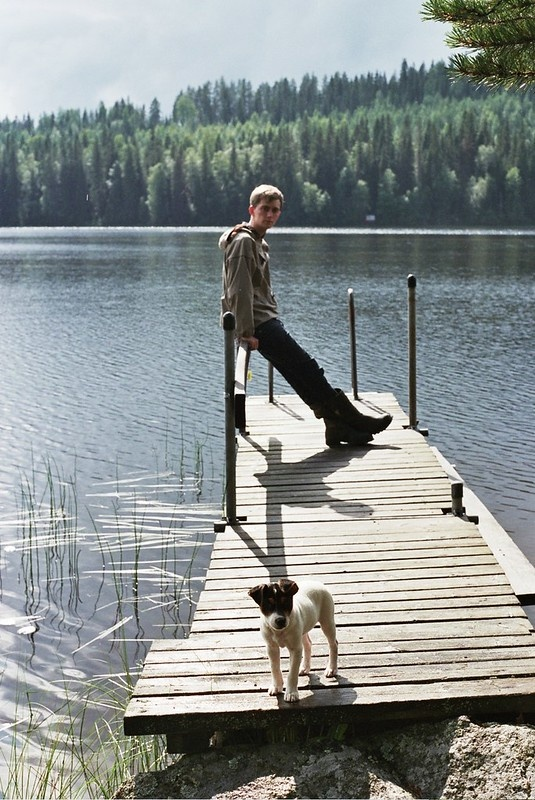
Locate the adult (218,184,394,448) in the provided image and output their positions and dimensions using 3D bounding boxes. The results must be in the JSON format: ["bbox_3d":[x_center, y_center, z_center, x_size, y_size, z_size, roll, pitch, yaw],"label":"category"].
[{"bbox_3d":[0.201,-0.508,7.808,0.988,1.756,1.368,-1,9,-2],"label":"adult"}]

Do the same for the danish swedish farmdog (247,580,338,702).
[{"bbox_3d":[0.119,0.858,4.495,0.190,0.472,0.615,2,5,26],"label":"danish swedish farmdog"}]

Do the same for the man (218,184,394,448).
[{"bbox_3d":[0.203,-0.509,7.815,0.994,1.756,1.338,-1,9,-2],"label":"man"}]
